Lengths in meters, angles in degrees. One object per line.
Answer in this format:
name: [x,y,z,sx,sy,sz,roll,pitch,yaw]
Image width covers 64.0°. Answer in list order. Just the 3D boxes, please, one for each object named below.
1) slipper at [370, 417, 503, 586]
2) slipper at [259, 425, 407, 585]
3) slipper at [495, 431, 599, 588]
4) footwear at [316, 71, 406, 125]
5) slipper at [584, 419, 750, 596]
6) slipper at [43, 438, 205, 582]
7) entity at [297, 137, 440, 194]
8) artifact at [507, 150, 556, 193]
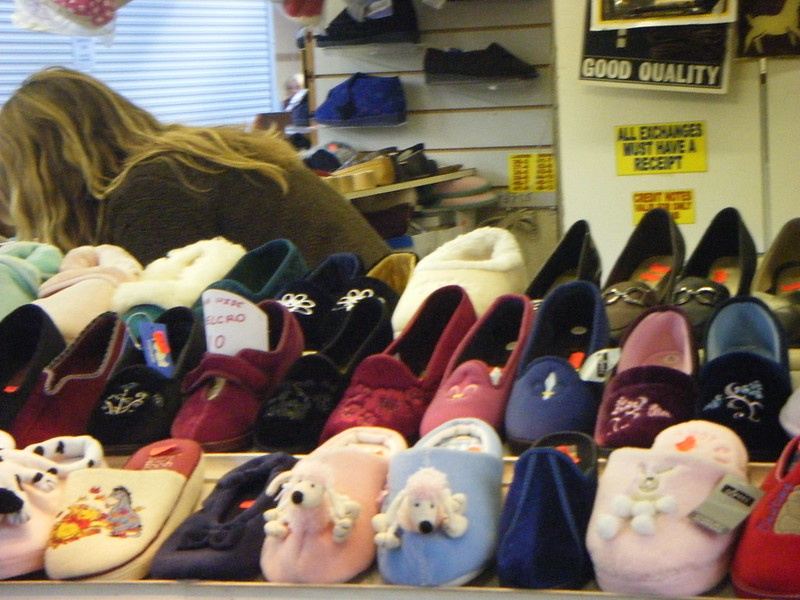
slipper: [0.059,0.248,0.837,0.113,0.081,0.214,-1,33,24]
slipper: [-0.069,0.256,0.860,0.112,0.081,0.220,2,27,28]
slipper: [0.195,0.244,0.807,0.089,0.081,0.223,-3,24,21]
footwear: [-0.218,-1.118,3.590,0.472,0.169,0.263,2,23,4]
slipper: [0.331,0.217,0.780,0.123,0.084,0.243,-2,32,40]
slipper: [-0.368,0.278,0.876,0.093,0.056,0.200,5,24,15]
entity: [-0.120,-0.693,3.223,0.623,0.156,0.424,-12,14,-37]
artifact: [0.740,-0.717,3.619,0.268,0.236,0.073,6,12,18]
